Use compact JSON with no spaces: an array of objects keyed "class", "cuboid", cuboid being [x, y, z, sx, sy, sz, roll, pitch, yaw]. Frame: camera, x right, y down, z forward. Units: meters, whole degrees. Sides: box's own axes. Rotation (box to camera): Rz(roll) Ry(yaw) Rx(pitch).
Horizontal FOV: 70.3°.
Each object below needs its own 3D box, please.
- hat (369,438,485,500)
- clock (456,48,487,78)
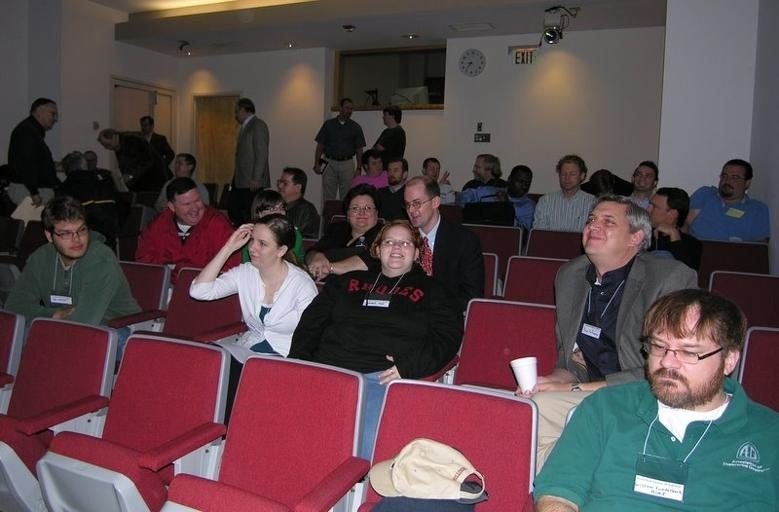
[{"class":"hat","cuboid":[0.157,0.858,2.204,0.355,0.111,0.237,8,25,22]},{"class":"clock","cuboid":[1.404,-3.302,9.368,0.478,0.504,0.050,4,14,26]}]
